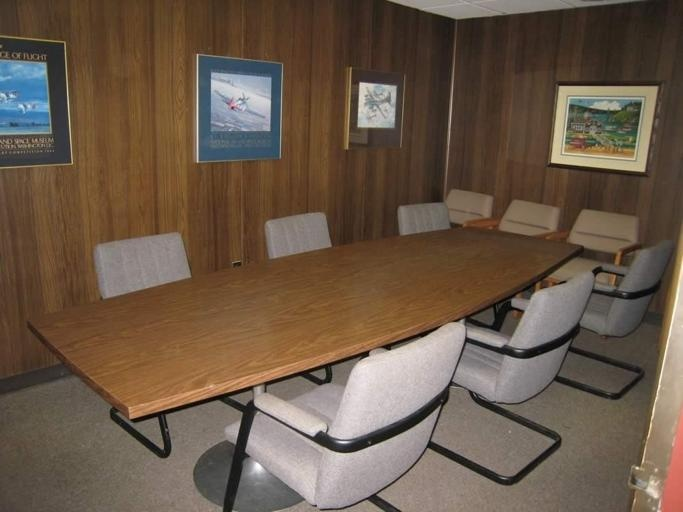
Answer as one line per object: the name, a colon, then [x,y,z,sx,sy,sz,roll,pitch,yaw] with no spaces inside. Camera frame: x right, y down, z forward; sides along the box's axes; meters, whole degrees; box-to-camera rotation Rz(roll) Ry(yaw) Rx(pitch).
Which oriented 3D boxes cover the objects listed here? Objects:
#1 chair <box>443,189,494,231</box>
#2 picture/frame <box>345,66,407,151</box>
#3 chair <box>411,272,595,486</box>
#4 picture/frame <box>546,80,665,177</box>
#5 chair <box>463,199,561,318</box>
chair: [1.419,-0.560,5.628,0.453,0.600,0.509,15,24,36]
picture/frame: [0.337,-1.593,5.298,0.033,0.766,0.881,16,21,41]
chair: [1.077,0.507,3.303,0.960,1.423,1.137,-13,19,-39]
picture/frame: [2.701,-1.282,4.976,0.908,0.895,0.066,20,26,38]
chair: [1.718,-0.189,5.017,0.620,0.757,0.605,-12,17,-44]
